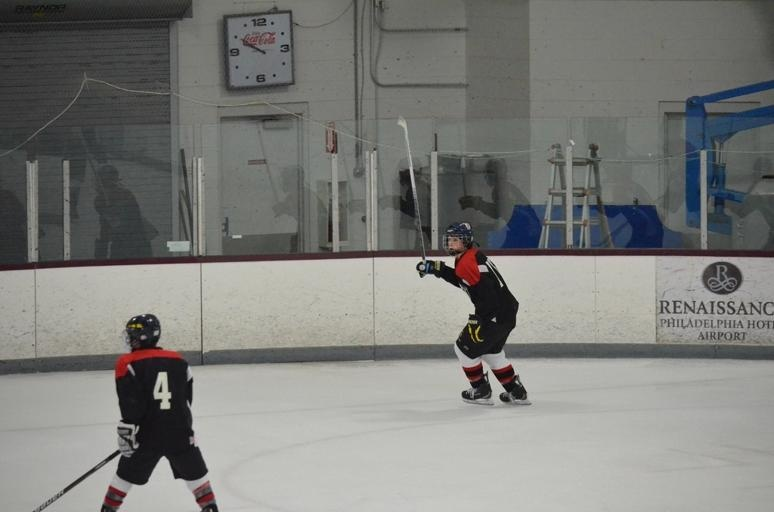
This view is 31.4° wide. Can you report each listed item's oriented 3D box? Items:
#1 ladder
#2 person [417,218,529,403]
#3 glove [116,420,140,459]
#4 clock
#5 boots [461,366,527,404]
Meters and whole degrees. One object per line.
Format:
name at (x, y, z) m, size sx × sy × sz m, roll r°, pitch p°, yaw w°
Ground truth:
ladder at (2.668, -0.855, 19.327) m, size 0.750 × 1.795 × 0.580 m, roll 0°, pitch 7°, yaw 20°
person at (1.012, 0.708, 17.267) m, size 1.172 × 2.196 × 1.018 m, roll 0°, pitch 1°, yaw -33°
glove at (-2.792, 2.002, 14.778) m, size 0.282 × 0.347 × 0.184 m, roll -2°, pitch 4°, yaw -5°
clock at (-2.017, -3.287, 21.749) m, size 1.049 × 1.288 × 0.239 m, roll -6°, pitch 4°, yaw 5°
boots at (1.319, 1.711, 17.129) m, size 0.969 × 0.426 × 0.284 m, roll -2°, pitch -7°, yaw 21°
